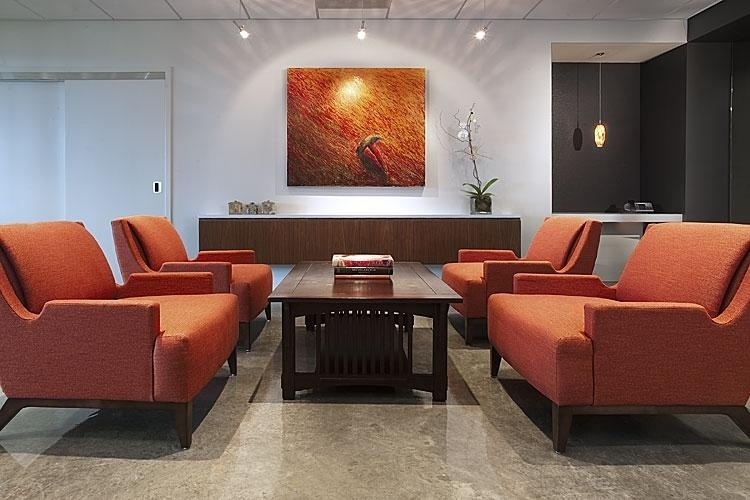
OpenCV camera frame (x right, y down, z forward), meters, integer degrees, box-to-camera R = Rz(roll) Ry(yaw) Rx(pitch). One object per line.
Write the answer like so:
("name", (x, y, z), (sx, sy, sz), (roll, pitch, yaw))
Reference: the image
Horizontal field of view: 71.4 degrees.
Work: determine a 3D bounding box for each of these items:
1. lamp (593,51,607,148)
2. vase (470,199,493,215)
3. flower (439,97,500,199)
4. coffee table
("lamp", (2.838, -1.810, 6.499), (0.143, 1.053, 0.480), (3, 12, 23))
("vase", (1.203, -0.484, 5.974), (0.179, 0.126, 0.176), (0, -1, -1))
("flower", (1.069, -1.148, 6.050), (0.607, 1.053, 0.195), (-1, 11, 5))
("coffee table", (-0.118, 0.537, 4.359), (1.296, 0.655, 1.926), (0, 7, -5))
